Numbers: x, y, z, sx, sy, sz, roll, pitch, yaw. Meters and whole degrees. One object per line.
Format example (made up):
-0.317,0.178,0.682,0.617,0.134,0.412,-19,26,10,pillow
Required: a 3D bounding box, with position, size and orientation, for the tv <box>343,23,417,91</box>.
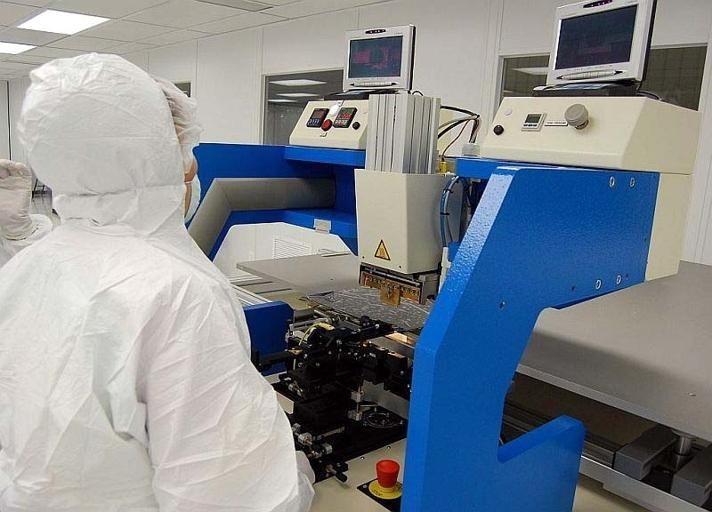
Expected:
0.100,-0.851,2.236,0.394,0.249,0.135,18,24,41,tv
